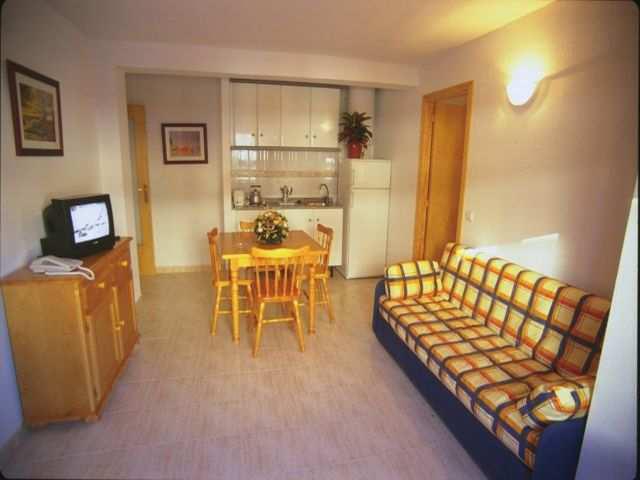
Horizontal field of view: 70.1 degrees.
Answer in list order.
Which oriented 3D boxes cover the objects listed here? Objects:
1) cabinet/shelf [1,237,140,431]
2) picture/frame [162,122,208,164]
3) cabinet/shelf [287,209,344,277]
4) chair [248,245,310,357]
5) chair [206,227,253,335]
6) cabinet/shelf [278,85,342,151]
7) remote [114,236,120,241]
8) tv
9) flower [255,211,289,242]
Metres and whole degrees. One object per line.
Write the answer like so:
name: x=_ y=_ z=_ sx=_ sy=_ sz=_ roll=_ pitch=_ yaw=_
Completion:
cabinet/shelf: x=-1.814 y=0.697 z=3.258 sx=0.516 sy=1.046 sz=1.066 roll=-3 pitch=19 yaw=-14
picture/frame: x=-1.768 y=-1.276 z=5.903 sx=0.500 sy=0.512 sz=0.038 roll=-2 pitch=13 yaw=-19
cabinet/shelf: x=-0.072 y=-0.019 z=5.199 sx=0.782 sy=0.774 sz=0.333 roll=-2 pitch=8 yaw=-14
chair: x=-0.395 y=0.587 z=4.332 sx=0.608 sy=1.194 sz=0.731 roll=-3 pitch=33 yaw=-15
chair: x=-0.901 y=0.451 z=4.630 sx=0.526 sy=1.166 sz=0.583 roll=-2 pitch=29 yaw=-9
cabinet/shelf: x=-0.125 y=-1.684 z=6.212 sx=0.860 sy=0.856 sz=0.308 roll=0 pitch=32 yaw=-4
remote: x=-1.772 y=-0.015 z=3.987 sx=0.029 sy=0.028 sz=0.042 roll=-5 pitch=18 yaw=-35
tv: x=-1.930 y=-0.151 z=3.665 sx=0.303 sy=0.542 sz=0.509 roll=23 pitch=23 yaw=15
flower: x=-0.501 y=-0.149 z=4.601 sx=0.304 sy=0.310 sz=0.304 roll=-7 pitch=13 yaw=-39
